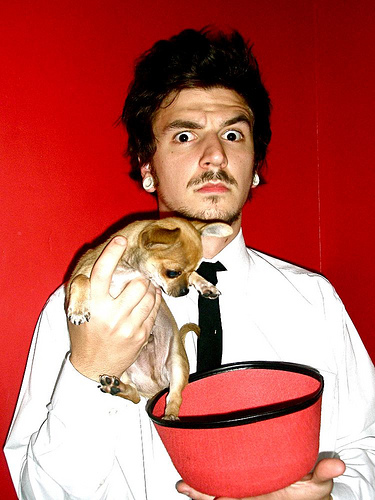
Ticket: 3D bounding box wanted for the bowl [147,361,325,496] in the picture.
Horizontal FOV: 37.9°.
[{"bbox_3d":[0.184,0.671,2.097,0.667,0.513,0.521,-3,-20,11],"label":"bowl"}]
